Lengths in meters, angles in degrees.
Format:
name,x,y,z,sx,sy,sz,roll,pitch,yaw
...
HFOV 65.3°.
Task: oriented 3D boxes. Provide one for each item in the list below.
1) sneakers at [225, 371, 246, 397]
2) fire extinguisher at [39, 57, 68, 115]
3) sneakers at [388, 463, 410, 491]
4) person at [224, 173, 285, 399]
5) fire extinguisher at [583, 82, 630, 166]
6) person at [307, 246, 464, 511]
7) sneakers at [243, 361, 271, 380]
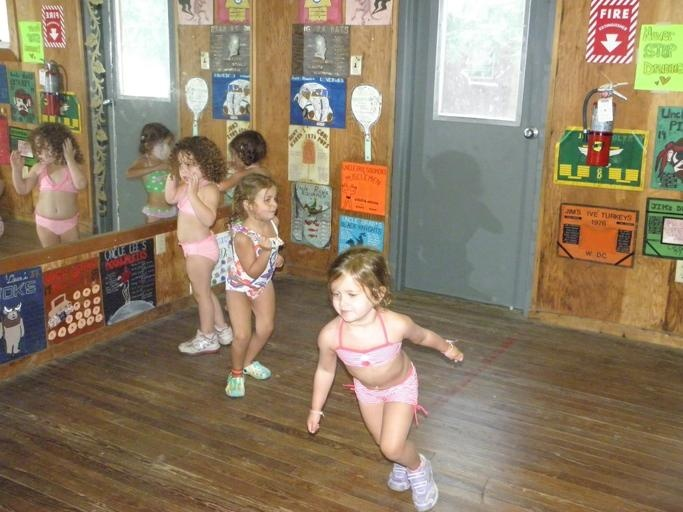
name,x,y,z,sx,sy,sz,roll,pitch,yaw
sneakers,-0.709,0.861,3.557,0.100,0.066,0.175,0,63,0
fire extinguisher,-1.921,-1.111,3.546,0.180,0.352,0.077,-17,24,-42
sneakers,0.279,1.143,2.738,0.073,0.078,0.176,1,5,10
person,-0.599,0.194,3.497,0.418,1.427,0.418,-3,18,-9
fire extinguisher,2.008,-1.003,4.125,0.307,0.647,0.203,9,20,27
person,0.205,0.605,2.577,0.603,1.249,0.447,6,19,18
sneakers,-0.600,0.801,3.747,0.169,0.082,0.101,5,22,20
